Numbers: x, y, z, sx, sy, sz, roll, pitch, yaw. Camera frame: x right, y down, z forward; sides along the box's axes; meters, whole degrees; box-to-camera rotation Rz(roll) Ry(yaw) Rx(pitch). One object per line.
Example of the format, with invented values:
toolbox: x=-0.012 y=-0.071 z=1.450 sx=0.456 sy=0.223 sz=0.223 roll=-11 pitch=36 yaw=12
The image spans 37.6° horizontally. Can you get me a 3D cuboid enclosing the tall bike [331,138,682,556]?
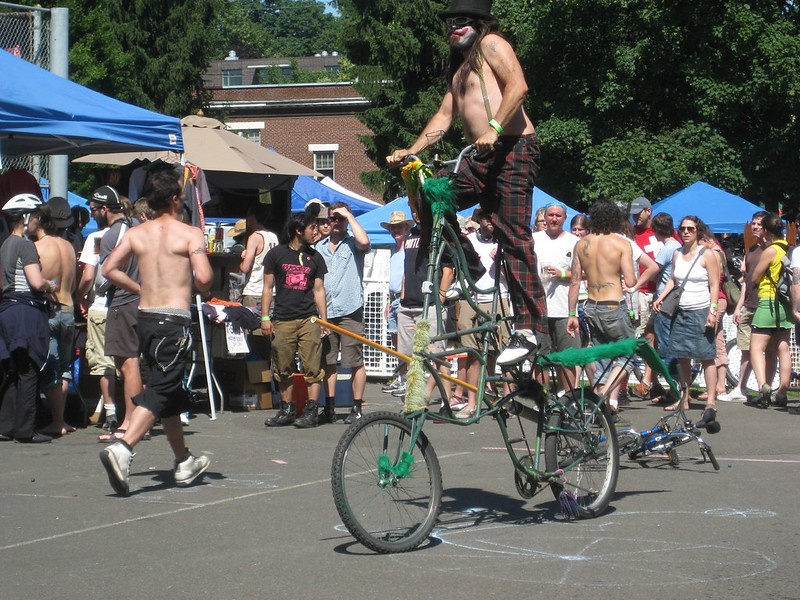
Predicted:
tall bike: x=0.636 y=0.312 z=9.014 sx=2.751 sy=2.951 sz=0.987 roll=-7 pitch=11 yaw=-37

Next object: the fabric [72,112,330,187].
fabric: x=-2.959 y=-2.375 z=16.890 sx=2.701 sy=0.558 sz=2.660 roll=-3 pitch=17 yaw=-41

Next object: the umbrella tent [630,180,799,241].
umbrella tent: x=5.632 y=-1.847 z=21.765 sx=2.878 sy=0.804 sz=2.645 roll=-4 pitch=8 yaw=-7

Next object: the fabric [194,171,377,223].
fabric: x=-2.378 y=-2.007 z=22.923 sx=3.316 sy=0.695 sz=3.044 roll=0 pitch=3 yaw=-3

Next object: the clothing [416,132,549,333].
clothing: x=0.673 y=-0.701 z=9.645 sx=0.807 sy=1.269 sz=0.404 roll=-4 pitch=35 yaw=-5
